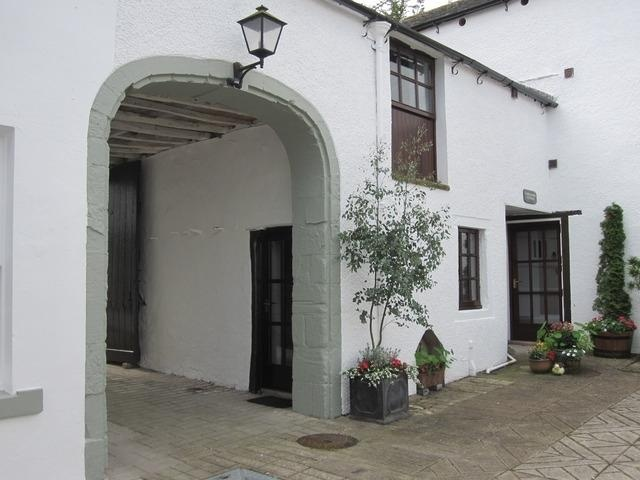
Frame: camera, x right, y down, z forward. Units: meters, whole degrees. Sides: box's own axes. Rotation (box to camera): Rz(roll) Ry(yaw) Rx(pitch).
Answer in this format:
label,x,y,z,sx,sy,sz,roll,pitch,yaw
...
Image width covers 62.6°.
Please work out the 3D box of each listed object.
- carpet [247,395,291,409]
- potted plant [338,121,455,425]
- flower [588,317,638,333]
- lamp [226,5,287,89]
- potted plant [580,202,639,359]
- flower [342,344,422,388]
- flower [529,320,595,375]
label,x,y,z,sx,sy,sz,roll,pitch,yaw
carpet,-0.609,2.133,6.911,0.703,0.011,0.493,-1,-1,36
potted plant,1.009,0.368,6.711,1.016,3.472,1.774,-1,-1,28
flower,5.266,1.548,9.520,0.488,0.171,0.464,-1,-5,-1
lamp,-0.651,-1.947,5.304,0.352,0.702,0.565,0,-1,-41
potted plant,5.353,0.713,9.719,0.768,2.846,0.680,-1,-1,30
flower,0.725,1.513,6.394,0.567,0.405,0.787,-1,-1,41
flower,3.915,1.780,8.585,0.915,0.761,0.620,-1,-1,27
